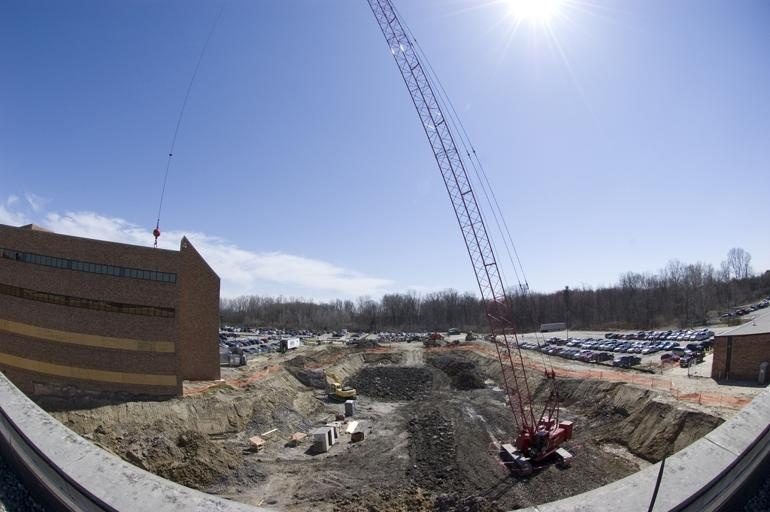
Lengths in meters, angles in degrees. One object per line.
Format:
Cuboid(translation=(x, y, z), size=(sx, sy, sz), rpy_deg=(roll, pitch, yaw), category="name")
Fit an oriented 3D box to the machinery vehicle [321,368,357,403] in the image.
Cuboid(translation=(-5.799, 16.733, 58.827), size=(2.004, 3.045, 6.127), rpy_deg=(3, -7, -31), category="machinery vehicle")
